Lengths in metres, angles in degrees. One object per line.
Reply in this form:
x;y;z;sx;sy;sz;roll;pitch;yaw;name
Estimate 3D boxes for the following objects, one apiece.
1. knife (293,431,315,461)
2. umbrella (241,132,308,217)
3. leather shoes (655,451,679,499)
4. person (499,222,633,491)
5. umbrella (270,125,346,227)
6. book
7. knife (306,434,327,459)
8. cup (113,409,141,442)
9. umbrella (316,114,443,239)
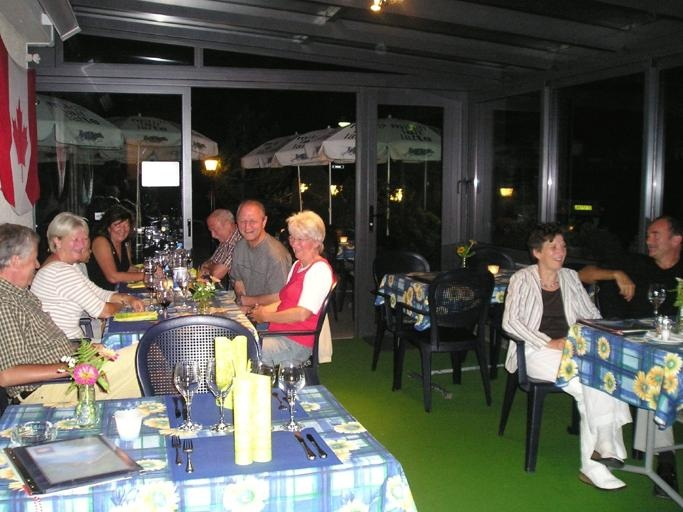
-0.112;0.601;1.716;0.027;0.012;0.138;-1;10;-16;knife
-0.918;-1.110;7.788;1.121;1.142;0.935;-20;20;-29;umbrella
1.869;1.240;3.099;0.109;0.129;0.325;-3;3;13;leather shoes
1.405;0.561;3.442;0.711;1.479;0.877;4;9;10;person
-0.303;-1.020;6.935;1.212;1.074;1.113;-4;6;-12;umbrella
-0.787;0.616;1.572;0.253;0.032;0.332;11;6;29;book
-0.076;0.598;1.710;0.025;0.011;0.130;-4;10;-14;knife
-0.726;0.566;1.807;0.085;0.073;0.094;1;-4;-3;cup
0.515;-0.960;7.089;1.372;1.268;1.412;0;2;-1;umbrella
